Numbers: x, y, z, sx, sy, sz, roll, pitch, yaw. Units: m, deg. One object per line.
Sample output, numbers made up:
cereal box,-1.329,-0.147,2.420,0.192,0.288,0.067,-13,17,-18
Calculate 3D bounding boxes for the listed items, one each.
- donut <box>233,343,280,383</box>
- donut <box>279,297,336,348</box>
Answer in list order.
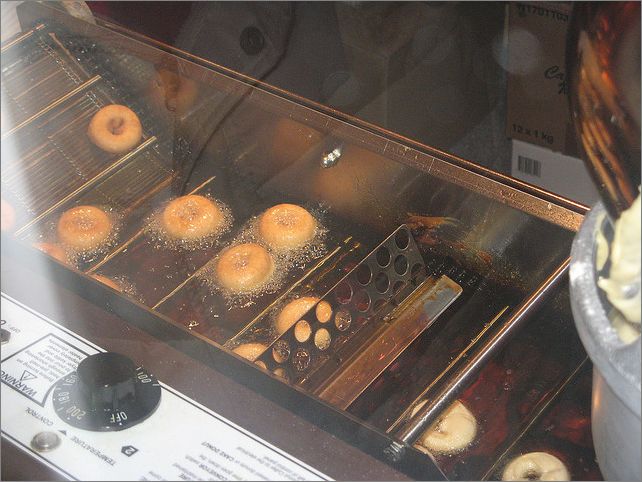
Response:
donut,-0.090,0.165,0.857,0.061,0.068,0.016,23,-65,13
donut,-0.026,0.117,0.916,0.070,0.070,0.025,45,-27,36
